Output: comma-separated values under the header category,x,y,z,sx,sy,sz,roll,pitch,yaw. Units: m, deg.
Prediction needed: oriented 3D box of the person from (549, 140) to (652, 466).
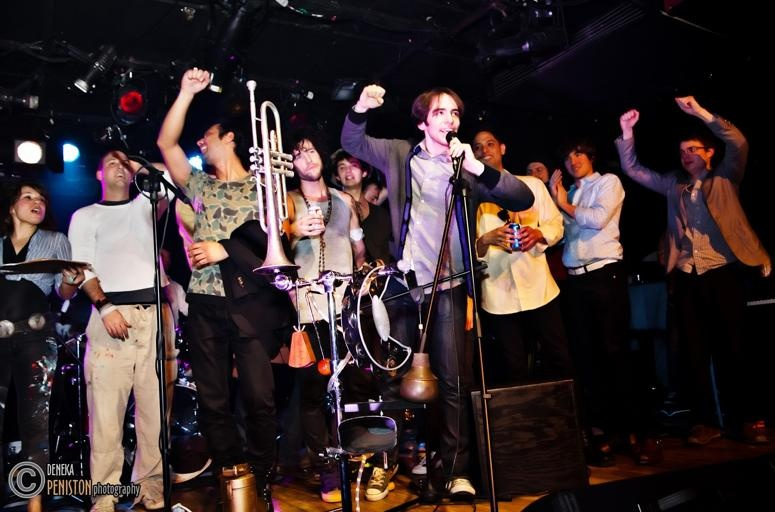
category,x,y,z,sx,sy,sz,roll,pitch,yaw
person,2.123,0.356,6.246,0.752,3.183,0.891,-6,-5,11

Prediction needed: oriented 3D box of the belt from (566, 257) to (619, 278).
category,x,y,z,sx,sy,sz,roll,pitch,yaw
belt,2.024,0.111,6.074,0.473,0.135,0.100,-9,-15,20

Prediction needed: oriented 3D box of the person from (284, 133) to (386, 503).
category,x,y,z,sx,sy,sz,roll,pitch,yaw
person,-0.568,0.485,5.752,0.793,3.213,0.942,-1,5,-34

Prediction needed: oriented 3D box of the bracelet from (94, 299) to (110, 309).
category,x,y,z,sx,sy,sz,roll,pitch,yaw
bracelet,-2.459,0.416,5.339,0.142,0.099,0.033,-6,-14,11

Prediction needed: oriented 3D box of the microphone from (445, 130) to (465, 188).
category,x,y,z,sx,sy,sz,roll,pitch,yaw
microphone,0.501,-0.713,4.596,0.138,0.416,0.109,-5,-7,2

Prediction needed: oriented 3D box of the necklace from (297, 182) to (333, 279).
category,x,y,z,sx,sy,sz,roll,pitch,yaw
necklace,-0.663,-0.219,5.734,0.282,0.908,0.264,1,4,-15

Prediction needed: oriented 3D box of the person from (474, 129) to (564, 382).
category,x,y,z,sx,sy,sz,roll,pitch,yaw
person,1.193,0.154,5.956,0.937,2.791,0.846,-8,-3,6

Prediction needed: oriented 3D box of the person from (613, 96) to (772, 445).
category,x,y,z,sx,sy,sz,roll,pitch,yaw
person,3.134,0.176,6.217,1.324,3.646,1.157,1,6,32

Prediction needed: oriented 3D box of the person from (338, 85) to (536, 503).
category,x,y,z,sx,sy,sz,roll,pitch,yaw
person,0.382,0.223,4.922,1.172,3.339,1.114,8,-17,-39

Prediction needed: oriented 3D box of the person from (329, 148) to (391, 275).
category,x,y,z,sx,sy,sz,roll,pitch,yaw
person,-0.226,-0.524,6.713,0.553,1.364,0.524,8,9,32
